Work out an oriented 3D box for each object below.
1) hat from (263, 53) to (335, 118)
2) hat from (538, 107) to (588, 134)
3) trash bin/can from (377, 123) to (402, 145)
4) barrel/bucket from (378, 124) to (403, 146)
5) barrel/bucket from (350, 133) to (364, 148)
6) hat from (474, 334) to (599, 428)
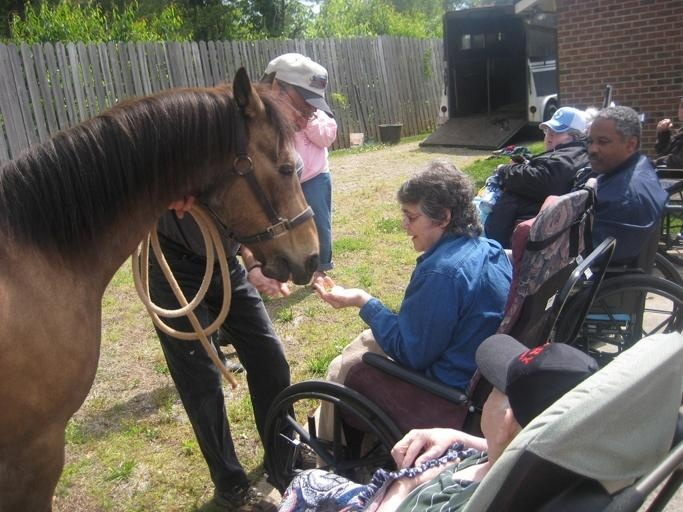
[{"bbox_3d":[-0.264,-1.202,3.956,0.517,0.284,0.366,36,16,-9],"label":"hat"},{"bbox_3d":[1.951,-1.134,4.882,0.302,0.195,0.244,4,20,13],"label":"hat"},{"bbox_3d":[1.108,-2.696,12.712,0.420,0.383,0.476,0,26,10],"label":"trash bin/can"},{"bbox_3d":[1.109,-2.705,12.708,0.411,0.368,0.468,-2,29,6],"label":"barrel/bucket"},{"bbox_3d":[0.341,-2.497,12.194,0.324,0.271,0.281,-7,21,-12],"label":"barrel/bucket"},{"bbox_3d":[0.638,0.381,1.935,0.265,0.244,0.434,-11,23,-20],"label":"hat"}]
